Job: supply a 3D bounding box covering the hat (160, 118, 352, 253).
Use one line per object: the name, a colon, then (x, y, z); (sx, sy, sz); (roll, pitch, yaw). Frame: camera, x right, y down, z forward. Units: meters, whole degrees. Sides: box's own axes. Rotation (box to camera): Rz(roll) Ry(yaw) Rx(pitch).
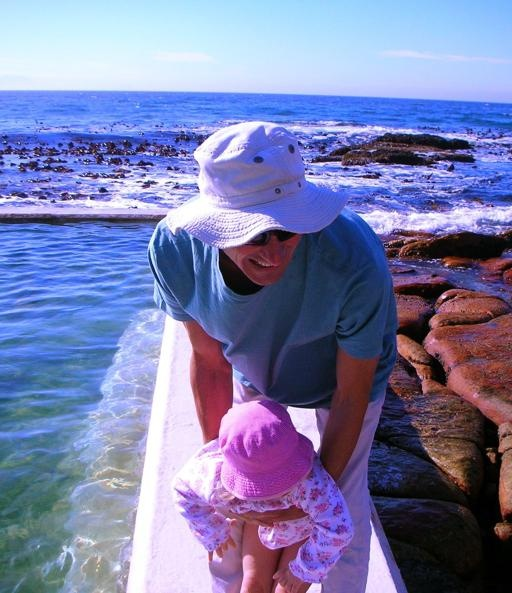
hat: (-0.012, -0.352, 1.841); (0.549, 0.231, 0.478); (-7, 16, 3)
